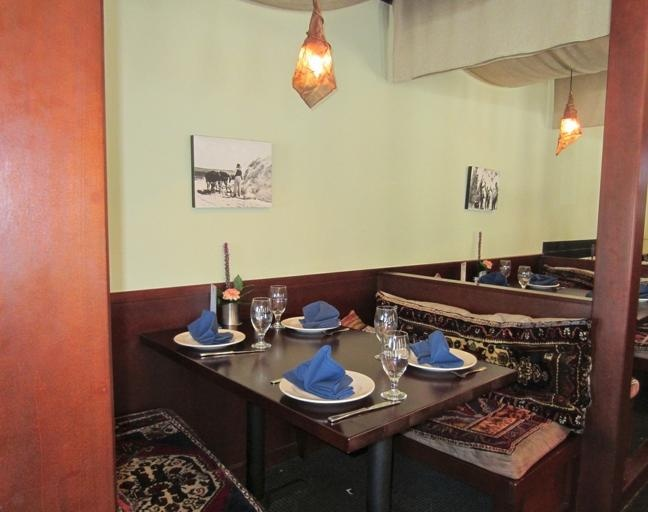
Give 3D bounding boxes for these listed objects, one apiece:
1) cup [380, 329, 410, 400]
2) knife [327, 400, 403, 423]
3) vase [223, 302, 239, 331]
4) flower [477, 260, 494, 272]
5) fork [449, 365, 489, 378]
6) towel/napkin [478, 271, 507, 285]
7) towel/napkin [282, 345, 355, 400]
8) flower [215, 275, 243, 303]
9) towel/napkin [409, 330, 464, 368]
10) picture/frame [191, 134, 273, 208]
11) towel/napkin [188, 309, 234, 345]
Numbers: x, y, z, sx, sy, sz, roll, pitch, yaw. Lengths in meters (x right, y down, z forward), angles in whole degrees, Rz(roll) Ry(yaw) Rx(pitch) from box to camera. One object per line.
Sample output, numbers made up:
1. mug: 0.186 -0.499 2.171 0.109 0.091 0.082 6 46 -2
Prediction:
1. cup: 0.254 0.375 1.953 0.097 0.240 0.250 2 8 8
2. knife: 0.130 0.512 1.775 0.274 0.029 0.038 -2 6 -43
3. vase: -0.497 0.313 2.801 0.113 0.139 0.114 -1 3 -29
4. flower: 1.429 0.081 4.787 0.126 0.140 0.127 0 1 23
5. fork: 0.593 0.451 2.199 0.045 0.041 0.259 6 2 42
6. towel/napkin: 1.214 0.165 3.851 0.184 0.066 0.143 -2 4 -39
7. towel/napkin: 0.002 0.391 1.911 0.148 0.113 0.220 -1 5 -30
8. flower: -0.512 0.172 2.973 0.151 0.141 0.340 0 8 -9
9. towel/napkin: 0.454 0.379 2.258 0.122 0.062 0.163 -1 6 -14
10. picture/frame: -0.532 -0.473 2.994 0.409 0.306 0.040 -6 8 -44
11. towel/napkin: -0.506 0.321 2.476 0.156 0.071 0.147 5 7 -43
